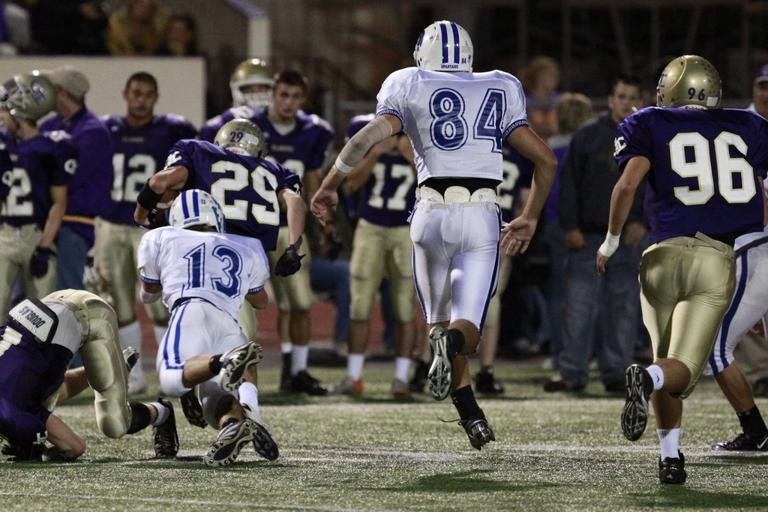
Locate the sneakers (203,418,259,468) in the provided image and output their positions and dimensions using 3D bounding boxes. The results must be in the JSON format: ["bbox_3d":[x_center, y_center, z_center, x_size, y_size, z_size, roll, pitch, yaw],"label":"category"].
[{"bbox_3d":[-0.792,0.952,5.804,0.329,0.159,0.160,-41,25,1],"label":"sneakers"}]

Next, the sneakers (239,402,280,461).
[{"bbox_3d":[-0.711,0.967,5.922,0.123,0.378,0.165,-33,24,-8],"label":"sneakers"}]

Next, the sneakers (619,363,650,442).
[{"bbox_3d":[1.257,0.720,5.513,0.130,0.376,0.160,0,-9,23],"label":"sneakers"}]

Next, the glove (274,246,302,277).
[{"bbox_3d":[-0.555,0.025,6.290,0.124,0.091,0.183,26,-30,-27],"label":"glove"}]

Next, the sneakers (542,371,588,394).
[{"bbox_3d":[1.446,1.002,8.922,0.375,0.166,0.142,5,-4,-4],"label":"sneakers"}]

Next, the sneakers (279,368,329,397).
[{"bbox_3d":[-0.643,0.996,8.731,0.451,0.204,0.157,1,-2,26],"label":"sneakers"}]

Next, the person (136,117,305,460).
[{"bbox_3d":[-0.944,0.048,6.393,0.876,2.021,0.763,7,-23,-21],"label":"person"}]

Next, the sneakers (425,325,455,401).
[{"bbox_3d":[0.285,0.560,5.882,0.123,0.387,0.163,-4,-11,20],"label":"sneakers"}]

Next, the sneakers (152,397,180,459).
[{"bbox_3d":[-1.207,0.945,6.138,0.111,0.349,0.144,-2,5,6],"label":"sneakers"}]

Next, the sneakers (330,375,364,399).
[{"bbox_3d":[-0.276,1.003,8.651,0.287,0.144,0.113,3,2,-8],"label":"sneakers"}]

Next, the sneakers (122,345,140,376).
[{"bbox_3d":[-1.432,0.563,6.239,0.063,0.084,0.192,2,0,-6],"label":"sneakers"}]

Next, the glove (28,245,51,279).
[{"bbox_3d":[-2.365,0.033,7.574,0.127,0.216,0.058,13,4,-29],"label":"glove"}]

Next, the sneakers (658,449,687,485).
[{"bbox_3d":[1.469,1.066,5.620,0.124,0.150,0.358,-3,-6,14],"label":"sneakers"}]

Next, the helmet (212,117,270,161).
[{"bbox_3d":[-0.846,-0.701,6.491,0.270,0.244,0.199,-8,15,-26],"label":"helmet"}]

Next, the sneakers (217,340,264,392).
[{"bbox_3d":[-0.739,0.531,5.690,0.300,0.146,0.143,-48,29,-16],"label":"sneakers"}]

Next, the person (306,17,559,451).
[{"bbox_3d":[0.339,-0.163,6.186,1.232,2.370,0.851,1,3,7],"label":"person"}]

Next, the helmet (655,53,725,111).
[{"bbox_3d":[1.694,-0.935,5.952,0.256,0.312,0.324,-2,25,-23],"label":"helmet"}]

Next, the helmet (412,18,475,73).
[{"bbox_3d":[0.346,-1.188,6.284,0.245,0.285,0.333,1,25,-4],"label":"helmet"}]

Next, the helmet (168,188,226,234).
[{"bbox_3d":[-1.039,-0.249,6.181,0.203,0.224,0.283,-12,-8,15],"label":"helmet"}]

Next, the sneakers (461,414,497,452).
[{"bbox_3d":[0.491,0.936,5.958,0.127,0.100,0.271,42,0,-19],"label":"sneakers"}]
